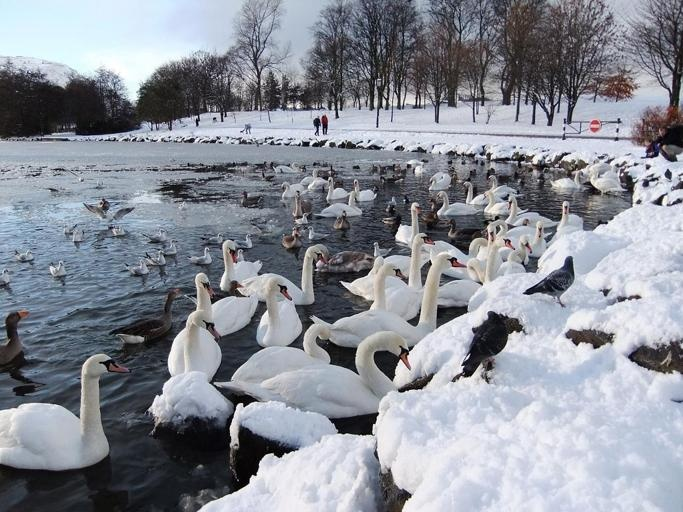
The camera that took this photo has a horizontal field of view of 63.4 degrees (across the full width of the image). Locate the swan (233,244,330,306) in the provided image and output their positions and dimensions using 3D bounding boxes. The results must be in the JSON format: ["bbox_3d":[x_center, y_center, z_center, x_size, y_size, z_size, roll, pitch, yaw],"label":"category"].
[{"bbox_3d":[-1.242,0.552,12.652,1.870,1.404,1.727,-5,19,-13],"label":"swan"}]

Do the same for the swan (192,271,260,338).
[{"bbox_3d":[-2.437,0.880,11.548,0.669,1.291,1.677,4,23,30],"label":"swan"}]

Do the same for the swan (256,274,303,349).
[{"bbox_3d":[-1.223,1.158,10.690,0.765,1.409,0.855,0,14,-14],"label":"swan"}]

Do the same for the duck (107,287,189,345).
[{"bbox_3d":[-3.836,1.254,11.042,1.066,0.952,1.022,0,16,-8],"label":"duck"}]

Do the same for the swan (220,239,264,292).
[{"bbox_3d":[-2.488,0.305,13.629,0.967,1.243,0.973,-1,14,-14],"label":"swan"}]

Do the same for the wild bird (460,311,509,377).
[{"bbox_3d":[1.742,1.105,6.728,0.661,0.623,0.400,-2,17,-31],"label":"wild bird"}]

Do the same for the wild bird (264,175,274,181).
[{"bbox_3d":[-4.395,-4.580,32.681,0.349,0.231,0.489,5,5,24],"label":"wild bird"}]

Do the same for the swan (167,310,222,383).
[{"bbox_3d":[-2.486,1.502,9.399,0.892,1.212,0.803,-5,14,-21],"label":"swan"}]

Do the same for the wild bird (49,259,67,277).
[{"bbox_3d":[-7.295,0.346,14.260,0.355,0.339,0.504,-11,18,-41],"label":"wild bird"}]

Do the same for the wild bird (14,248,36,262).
[{"bbox_3d":[-9.049,-0.027,15.761,0.460,0.271,0.853,-8,16,-31],"label":"wild bird"}]

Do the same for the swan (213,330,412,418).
[{"bbox_3d":[-0.205,1.781,8.166,2.350,1.275,0.567,0,13,-3],"label":"swan"}]
